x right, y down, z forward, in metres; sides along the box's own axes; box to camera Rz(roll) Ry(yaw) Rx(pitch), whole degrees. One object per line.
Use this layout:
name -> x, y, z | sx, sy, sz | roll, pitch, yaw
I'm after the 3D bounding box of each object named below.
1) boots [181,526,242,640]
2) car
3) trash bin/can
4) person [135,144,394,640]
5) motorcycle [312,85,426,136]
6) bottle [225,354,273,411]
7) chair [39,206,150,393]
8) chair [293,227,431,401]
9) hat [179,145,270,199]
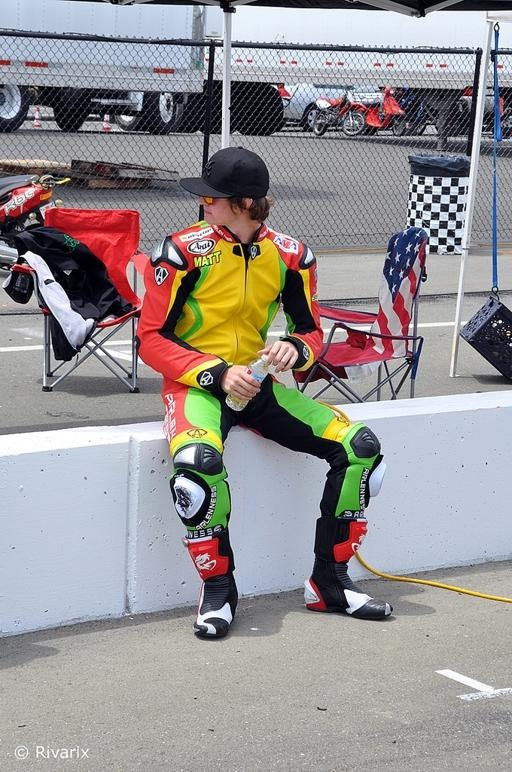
boots -> -0.138, 0.605, 2.449 | 0.125, 0.366, 0.230 | 4, 7, 13
car -> 2.309, -8.168, 22.965 | 3.196, 1.764, 1.672 | -2, 27, -6
trash bin/can -> 2.338, -2.442, 10.558 | 1.064, 1.329, 0.939 | 8, 24, 25
person -> 0.006, -0.018, 2.592 | 0.726, 1.588, 0.593 | -1, 7, -23
motorcycle -> 3.620, -8.357, 23.369 | 3.180, 1.607, 1.543 | 8, 15, 31
bottle -> 0.009, -0.004, 2.536 | 0.198, 0.188, 0.142 | -4, 9, -43
chair -> -1.028, -0.553, 4.769 | 0.851, 1.101, 0.707 | -2, 14, -24
chair -> 0.479, -0.275, 4.390 | 0.916, 1.128, 0.832 | -2, 18, 3
hat -> -0.111, -0.734, 2.631 | 0.322, 0.146, 0.219 | -6, 25, -22
